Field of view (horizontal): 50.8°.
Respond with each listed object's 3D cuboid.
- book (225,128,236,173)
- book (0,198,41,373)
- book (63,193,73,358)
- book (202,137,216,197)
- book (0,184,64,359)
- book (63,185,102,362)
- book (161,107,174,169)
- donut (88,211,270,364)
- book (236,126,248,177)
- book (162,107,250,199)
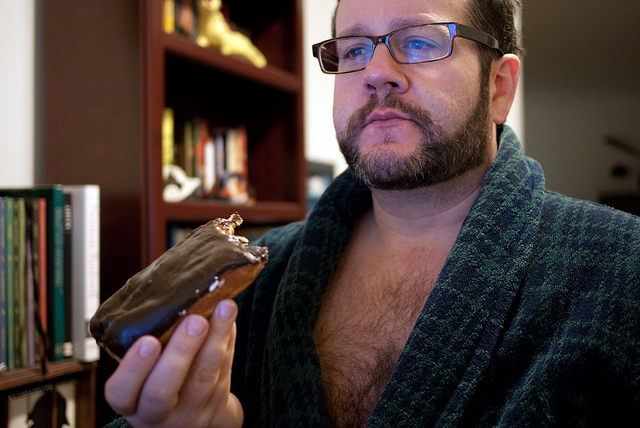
[{"bbox_3d":[-0.321,-0.228,2.440,0.039,0.156,0.038,0,1,-10],"label":"book"},{"bbox_3d":[-0.806,0.191,1.818,0.096,0.461,0.031,0,1,-31],"label":"book"},{"bbox_3d":[-0.706,0.175,1.904,0.023,0.466,0.028,0,1,-22],"label":"book"},{"bbox_3d":[-0.392,-0.168,2.383,0.055,0.060,0.288,10,-40,0],"label":"book"},{"bbox_3d":[-0.787,0.159,1.835,0.213,0.419,0.405,2,-6,-35],"label":"book"},{"bbox_3d":[-0.665,0.173,1.884,0.058,0.615,0.439,0,-2,-26],"label":"book"},{"bbox_3d":[-0.504,-0.256,2.239,0.042,0.196,0.042,0,-5,-20],"label":"book"},{"bbox_3d":[-0.331,0.177,1.612,0.266,0.141,0.462,13,35,39],"label":"donut"},{"bbox_3d":[-0.292,-0.243,2.549,0.045,0.194,0.179,0,2,-7],"label":"book"},{"bbox_3d":[-0.444,-0.147,2.482,0.348,0.352,0.267,5,-25,-26],"label":"book"}]
